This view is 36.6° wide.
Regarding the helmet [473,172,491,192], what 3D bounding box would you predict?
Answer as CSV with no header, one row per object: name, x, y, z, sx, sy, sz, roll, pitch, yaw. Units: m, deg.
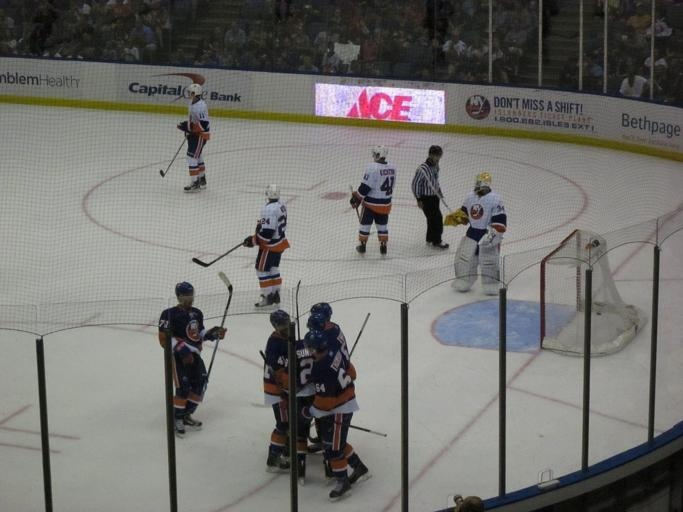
helmet,1.688,-0.895,12.293,0.271,0.268,0.209,-1,8,-21

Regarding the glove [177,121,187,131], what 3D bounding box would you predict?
glove,-2.374,-1.929,15.236,0.106,0.124,0.289,-4,6,-19

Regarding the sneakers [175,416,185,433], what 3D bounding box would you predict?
sneakers,-1.467,1.496,9.342,0.080,0.153,0.173,0,15,-4

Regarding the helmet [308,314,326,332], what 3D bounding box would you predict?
helmet,-0.231,0.570,9.124,0.141,0.129,0.110,26,45,27

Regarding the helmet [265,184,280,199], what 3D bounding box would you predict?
helmet,-0.811,-0.755,11.890,0.136,0.172,0.171,-1,28,-14

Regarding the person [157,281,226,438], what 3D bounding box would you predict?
person,-1.366,0.894,9.443,0.423,1.262,0.738,5,16,13

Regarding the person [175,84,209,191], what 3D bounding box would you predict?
person,-2.201,-1.773,15.282,0.451,1.523,0.612,-2,16,-9

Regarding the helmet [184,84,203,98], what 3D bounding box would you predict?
helmet,-2.162,-2.414,15.076,0.191,0.178,0.448,0,15,-4

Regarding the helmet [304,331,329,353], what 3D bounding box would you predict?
helmet,-0.227,0.721,8.928,0.191,0.169,0.152,29,52,17

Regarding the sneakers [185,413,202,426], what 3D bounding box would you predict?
sneakers,-1.379,1.474,9.469,0.206,0.142,0.066,-4,20,-16

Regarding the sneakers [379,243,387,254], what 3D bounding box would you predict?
sneakers,0.500,-0.113,13.019,0.111,0.178,0.113,2,0,2

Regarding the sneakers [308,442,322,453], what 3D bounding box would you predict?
sneakers,-0.255,1.704,9.446,0.095,0.056,0.123,-8,13,-27

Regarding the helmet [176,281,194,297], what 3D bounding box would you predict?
helmet,-1.459,0.309,9.569,0.161,0.147,0.123,-7,17,-17

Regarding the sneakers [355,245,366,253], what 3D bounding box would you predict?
sneakers,0.238,-0.105,13.096,0.085,0.107,0.116,-7,16,-38

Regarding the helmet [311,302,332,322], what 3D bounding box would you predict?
helmet,-0.190,0.475,9.219,0.147,0.175,0.181,1,16,0

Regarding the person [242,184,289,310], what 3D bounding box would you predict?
person,-0.871,-0.189,11.813,0.466,1.215,0.663,2,16,6

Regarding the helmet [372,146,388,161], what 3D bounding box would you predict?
helmet,0.466,-1.309,13.070,0.144,0.165,0.182,-14,27,-38

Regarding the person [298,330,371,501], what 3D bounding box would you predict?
person,-0.067,1.326,9.097,0.439,1.412,0.582,-9,19,-32

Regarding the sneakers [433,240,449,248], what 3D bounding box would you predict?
sneakers,1.268,-0.177,13.413,0.214,0.096,0.077,-3,45,-1

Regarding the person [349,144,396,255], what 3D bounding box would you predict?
person,0.375,-0.703,13.015,0.534,1.314,0.408,1,16,0

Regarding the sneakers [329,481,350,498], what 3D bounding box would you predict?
sneakers,-0.023,2.018,9.063,0.205,0.129,0.099,-7,6,-6
